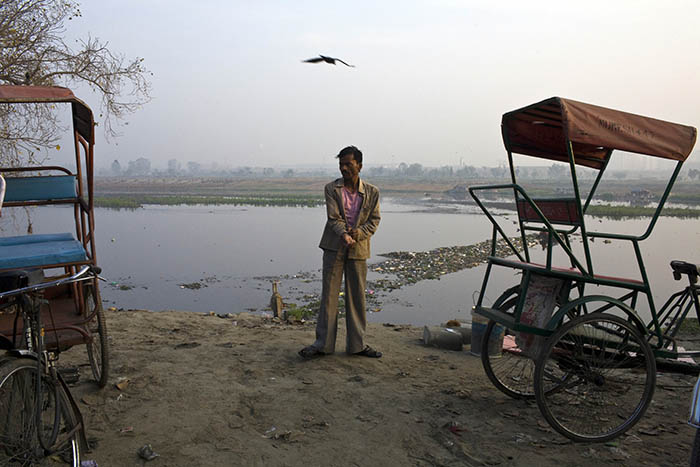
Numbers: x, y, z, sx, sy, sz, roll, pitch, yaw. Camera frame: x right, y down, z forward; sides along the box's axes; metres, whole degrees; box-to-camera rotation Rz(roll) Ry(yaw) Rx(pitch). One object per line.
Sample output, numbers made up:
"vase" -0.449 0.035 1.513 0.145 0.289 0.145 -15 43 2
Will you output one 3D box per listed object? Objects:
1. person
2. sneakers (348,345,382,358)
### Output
"person" -0.060 0.320 7.498 1.054 3.105 0.632 -4 9 -29
"sneakers" 0.223 1.771 7.828 0.552 0.223 0.182 0 0 -3
